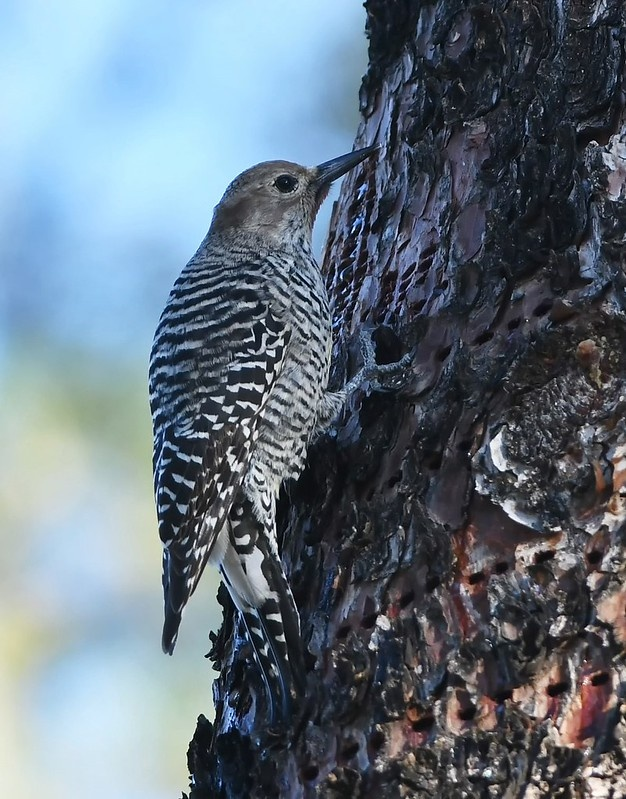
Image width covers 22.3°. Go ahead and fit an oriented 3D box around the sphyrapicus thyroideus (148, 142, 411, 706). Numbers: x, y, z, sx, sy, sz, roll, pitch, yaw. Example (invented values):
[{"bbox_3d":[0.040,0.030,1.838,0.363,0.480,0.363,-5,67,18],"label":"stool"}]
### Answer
[{"bbox_3d":[-0.054,0.123,4.329,0.777,1.774,0.432,-13,-43,2],"label":"sphyrapicus thyroideus"}]
